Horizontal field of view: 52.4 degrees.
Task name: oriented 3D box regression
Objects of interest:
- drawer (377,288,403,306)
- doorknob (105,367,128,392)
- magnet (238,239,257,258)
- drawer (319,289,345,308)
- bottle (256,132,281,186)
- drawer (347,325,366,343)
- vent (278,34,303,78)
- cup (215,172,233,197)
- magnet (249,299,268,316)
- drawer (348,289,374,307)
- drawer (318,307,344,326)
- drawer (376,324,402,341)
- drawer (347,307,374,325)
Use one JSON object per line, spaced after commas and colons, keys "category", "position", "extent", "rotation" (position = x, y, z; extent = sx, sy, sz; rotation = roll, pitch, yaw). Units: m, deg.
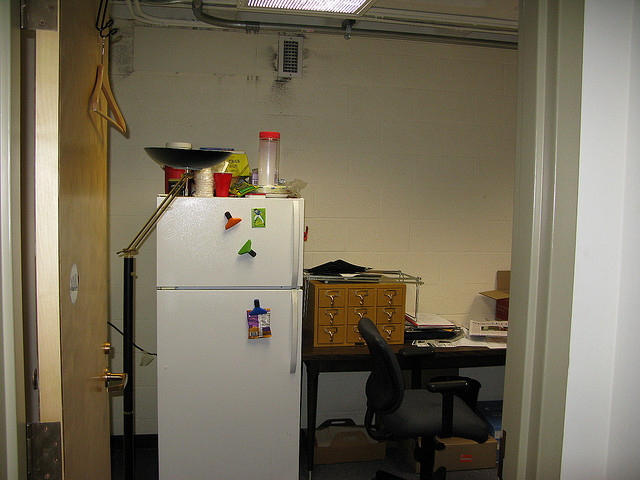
{"category": "drawer", "position": [0.384, 0.304, 3.544], "extent": [0.153, 0.116, 0.085], "rotation": [0, 1, -11]}
{"category": "doorknob", "position": [-0.779, 0.539, 2.463], "extent": [0.075, 0.104, 0.187], "rotation": [-2, 3, -19]}
{"category": "magnet", "position": [-0.355, 0.040, 3.122], "extent": [0.084, 0.085, 0.034], "rotation": [-1, 3, -9]}
{"category": "drawer", "position": [0.061, 0.310, 3.483], "extent": [0.135, 0.089, 0.093], "rotation": [0, 1, -15]}
{"category": "bottle", "position": [-0.279, -0.412, 3.407], "extent": [0.122, 0.272, 0.333], "rotation": [-1, 3, -5]}
{"category": "drawer", "position": [0.185, 0.508, 3.544], "extent": [0.119, 0.122, 0.081], "rotation": [-1, 2, -10]}
{"category": "vent", "position": [-0.180, -1.089, 3.890], "extent": [0.151, 0.231, 0.018], "rotation": [4, 17, 4]}
{"category": "cup", "position": [-0.476, -0.271, 3.218], "extent": [0.096, 0.127, 0.107], "rotation": [2, 4, 10]}
{"category": "magnet", "position": [-0.308, 0.323, 3.151], "extent": [0.072, 0.066, 0.025], "rotation": [-2, -9, -11]}
{"category": "drawer", "position": [0.221, 0.311, 3.522], "extent": [0.147, 0.105, 0.087], "rotation": [0, 0, -11]}
{"category": "drawer", "position": [0.053, 0.410, 3.495], "extent": [0.103, 0.067, 0.105], "rotation": [0, 5, -10]}
{"category": "drawer", "position": [0.387, 0.494, 3.573], "extent": [0.127, 0.093, 0.089], "rotation": [0, 1, -17]}
{"category": "drawer", "position": [0.209, 0.400, 3.558], "extent": [0.147, 0.109, 0.086], "rotation": [2, -1, -12]}
